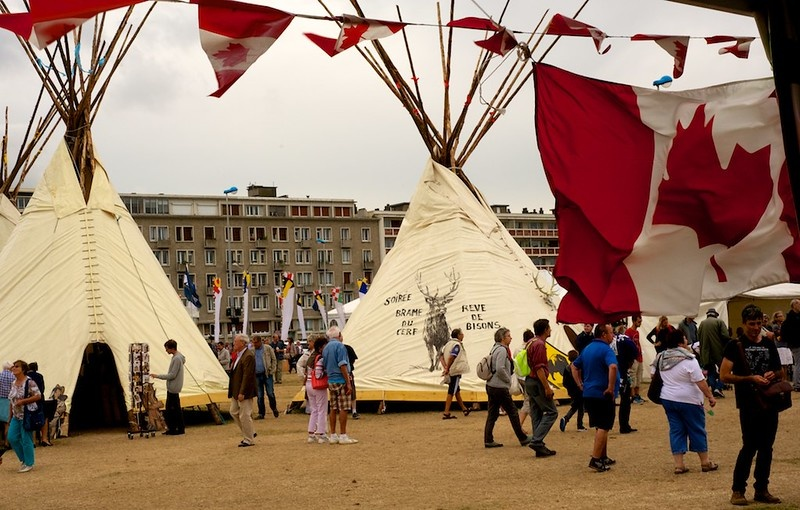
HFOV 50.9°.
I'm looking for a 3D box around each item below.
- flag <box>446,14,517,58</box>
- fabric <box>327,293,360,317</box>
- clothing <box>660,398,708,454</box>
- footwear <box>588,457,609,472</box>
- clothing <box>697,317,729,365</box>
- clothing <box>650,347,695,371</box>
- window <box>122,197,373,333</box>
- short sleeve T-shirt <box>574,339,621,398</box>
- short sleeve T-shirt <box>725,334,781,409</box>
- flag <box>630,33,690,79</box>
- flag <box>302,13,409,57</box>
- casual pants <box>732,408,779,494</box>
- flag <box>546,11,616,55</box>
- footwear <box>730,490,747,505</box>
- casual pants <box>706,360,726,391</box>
[{"bbox_3d":[1.115,-2.762,10.581,0.646,0.658,0.258,-32,-6,-21],"label":"flag"},{"bbox_3d":[-3.477,2.856,48.948,2.804,1.179,2.825,-1,-9,3],"label":"fabric"},{"bbox_3d":[4.151,2.494,12.278,0.568,0.696,0.271,-3,-2,-3],"label":"clothing"},{"bbox_3d":[2.972,3.109,12.596,0.297,0.177,0.234,-3,-2,12],"label":"footwear"},{"bbox_3d":[7.412,2.022,19.801,0.630,1.066,0.781,8,-10,-40],"label":"clothing"},{"bbox_3d":[4.002,1.511,12.387,0.444,0.183,0.344,-18,-2,-15],"label":"clothing"},{"bbox_3d":[-11.142,0.517,60.177,12.350,6.410,4.801,0,2,-17],"label":"window"},{"bbox_3d":[3.106,1.744,13.120,0.495,0.865,0.868,2,-7,-28],"label":"short sleeve T-shirt"},{"bbox_3d":[4.569,1.512,10.909,0.679,0.871,0.324,-3,-2,24],"label":"short sleeve T-shirt"},{"bbox_3d":[3.352,-2.608,10.960,0.834,0.547,0.046,2,13,-18],"label":"flag"},{"bbox_3d":[-0.460,-2.495,9.703,0.964,0.511,0.979,-2,-2,-23],"label":"flag"},{"bbox_3d":[4.544,2.432,10.831,0.511,1.320,0.389,0,2,-7],"label":"casual pants"},{"bbox_3d":[2.206,-2.716,10.464,0.737,0.411,0.722,-3,-2,-2],"label":"flag"},{"bbox_3d":[4.330,3.086,10.759,0.211,0.150,0.220,-3,-2,5],"label":"footwear"},{"bbox_3d":[7.512,2.809,19.929,0.402,0.934,0.284,-1,-10,42],"label":"casual pants"}]
